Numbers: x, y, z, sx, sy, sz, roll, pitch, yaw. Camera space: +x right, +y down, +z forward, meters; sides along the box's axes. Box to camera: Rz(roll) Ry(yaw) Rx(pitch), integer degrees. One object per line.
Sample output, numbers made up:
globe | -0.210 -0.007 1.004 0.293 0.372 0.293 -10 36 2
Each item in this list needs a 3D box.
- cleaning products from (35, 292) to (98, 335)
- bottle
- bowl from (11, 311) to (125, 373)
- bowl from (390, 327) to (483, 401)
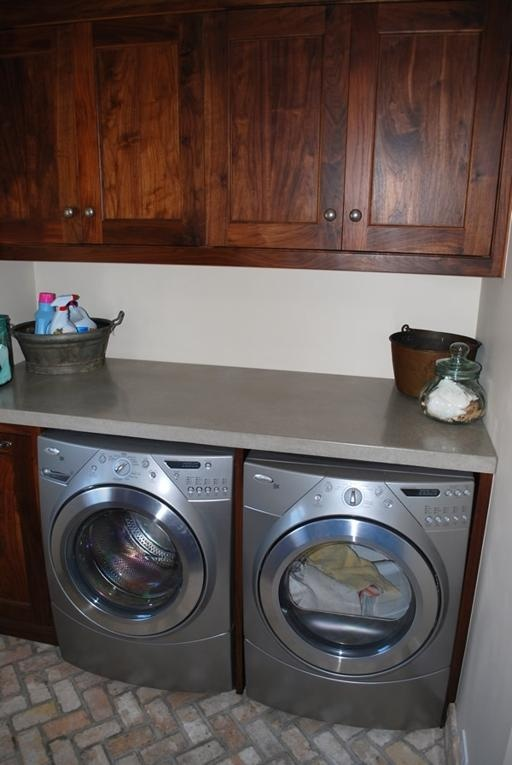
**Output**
cleaning products | -0.690 -0.253 2.033 0.213 0.138 0.245 -4 15 -19
bottle | 0.527 -0.026 1.621 0.199 0.232 0.194 -11 20 -23
bowl | -0.671 -0.138 2.037 0.280 0.146 0.229 1 21 -9
bowl | 0.552 -0.093 1.780 0.220 0.183 0.268 -1 13 -5
